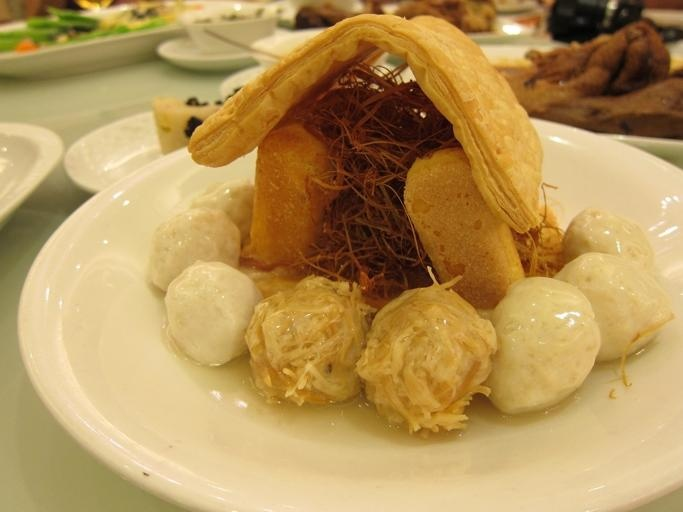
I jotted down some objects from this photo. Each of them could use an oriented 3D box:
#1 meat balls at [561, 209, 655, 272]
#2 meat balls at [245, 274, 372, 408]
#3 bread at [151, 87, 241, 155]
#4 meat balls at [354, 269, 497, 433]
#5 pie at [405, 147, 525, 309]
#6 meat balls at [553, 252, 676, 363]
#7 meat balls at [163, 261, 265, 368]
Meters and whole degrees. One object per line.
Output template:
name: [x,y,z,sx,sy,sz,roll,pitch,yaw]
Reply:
meat balls: [0.323,-0.024,0.738,0.093,0.076,0.093,1,17,0]
meat balls: [-0.046,0.096,0.748,0.161,0.121,0.115,-9,24,-19]
bread: [-0.276,-0.228,1.093,0.099,0.139,0.177,9,21,24]
meat balls: [0.092,0.102,0.706,0.142,0.131,0.193,-1,16,-5]
pie: [0.142,-0.020,0.710,0.103,0.205,0.047,-19,21,23]
meat balls: [0.331,0.048,0.746,0.110,0.110,0.128,-3,19,-23]
meat balls: [-0.148,0.063,0.759,0.120,0.109,0.117,-2,20,1]
